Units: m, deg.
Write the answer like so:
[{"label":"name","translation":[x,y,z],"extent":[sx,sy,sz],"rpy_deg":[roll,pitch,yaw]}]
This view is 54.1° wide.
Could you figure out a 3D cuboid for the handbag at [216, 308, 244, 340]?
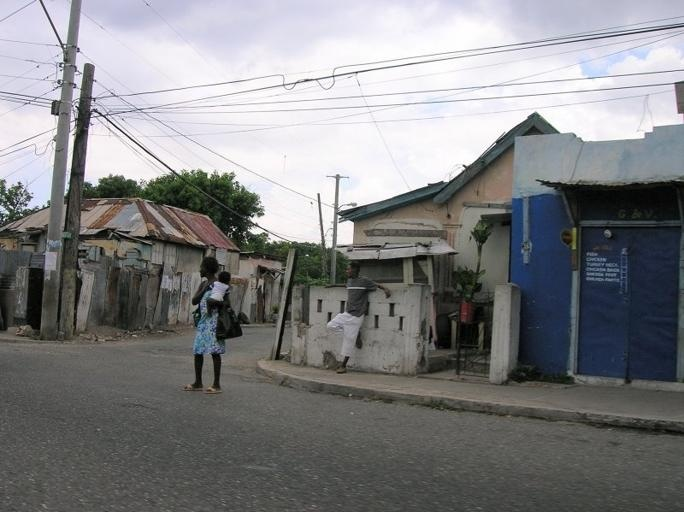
[{"label":"handbag","translation":[-1.744,1.086,10.620],"extent":[0.356,0.500,0.916],"rpy_deg":[3,-7,-3]}]

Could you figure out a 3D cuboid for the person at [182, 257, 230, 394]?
[{"label":"person","translation":[-2.115,1.055,10.555],"extent":[0.553,2.094,0.883],"rpy_deg":[4,-7,-11]}]

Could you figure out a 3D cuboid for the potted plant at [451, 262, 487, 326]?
[{"label":"potted plant","translation":[2.925,0.856,15.448],"extent":[0.779,1.494,2.381],"rpy_deg":[2,-7,10]}]

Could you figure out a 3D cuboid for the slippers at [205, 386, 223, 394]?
[{"label":"slippers","translation":[-1.929,2.031,10.129],"extent":[0.235,0.097,0.269],"rpy_deg":[4,-7,-12]}]

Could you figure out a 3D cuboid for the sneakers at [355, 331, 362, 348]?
[{"label":"sneakers","translation":[0.320,1.577,12.574],"extent":[0.163,0.309,0.096],"rpy_deg":[-2,4,-29]}]

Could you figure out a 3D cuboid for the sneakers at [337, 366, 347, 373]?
[{"label":"sneakers","translation":[0.011,2.111,12.250],"extent":[0.220,0.089,0.072],"rpy_deg":[7,-9,-22]}]

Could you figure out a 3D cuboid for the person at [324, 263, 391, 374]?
[{"label":"person","translation":[0.264,1.161,12.383],"extent":[1.035,2.026,0.559],"rpy_deg":[3,-7,-3]}]

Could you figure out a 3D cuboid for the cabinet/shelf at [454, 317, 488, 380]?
[{"label":"cabinet/shelf","translation":[2.674,1.931,13.684],"extent":[0.746,0.882,1.409],"rpy_deg":[0,-5,13]}]
